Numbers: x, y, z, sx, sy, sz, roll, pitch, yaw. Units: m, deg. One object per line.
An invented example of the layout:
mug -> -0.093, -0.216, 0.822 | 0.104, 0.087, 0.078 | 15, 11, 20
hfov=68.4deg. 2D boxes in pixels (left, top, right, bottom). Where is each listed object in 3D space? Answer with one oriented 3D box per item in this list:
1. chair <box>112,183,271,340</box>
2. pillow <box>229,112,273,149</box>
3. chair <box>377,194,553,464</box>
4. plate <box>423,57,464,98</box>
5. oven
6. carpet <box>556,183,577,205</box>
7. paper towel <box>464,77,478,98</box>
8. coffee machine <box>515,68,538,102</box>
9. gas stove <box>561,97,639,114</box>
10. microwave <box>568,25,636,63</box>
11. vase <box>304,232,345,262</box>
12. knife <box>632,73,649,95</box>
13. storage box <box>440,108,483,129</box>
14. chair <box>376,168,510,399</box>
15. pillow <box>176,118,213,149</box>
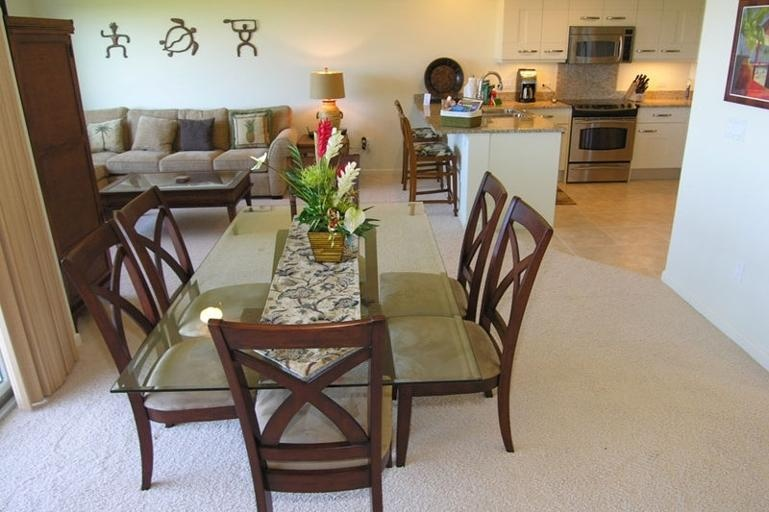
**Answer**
chair -> -1.375, 0.019, 3.947 | 1.016, 1.325, 0.752 | 5, 42, 0
pillow -> -1.717, -1.609, 7.241 | 0.598, 0.534, 0.207 | -7, 4, 0
chair -> 0.431, 0.477, 3.285 | 0.969, 1.483, 0.641 | -7, 22, -14
plate -> 0.793, -2.422, 7.599 | 0.526, 0.460, 0.144 | -1, 22, 3
oven -> 2.766, -1.480, 7.650 | 0.874, 1.106, 0.741 | -1, 27, 4
carpet -> 2.242, -0.735, 6.987 | 0.236, 0.063, 0.689 | 4, 20, 16
paper towel -> 0.975, -1.902, 6.415 | 0.141, 0.219, 0.294 | 2, 21, 9
coffee machine -> 1.896, -2.279, 7.568 | 0.279, 0.420, 0.332 | 4, 22, 14
gas stove -> 2.821, -1.962, 7.456 | 0.865, 0.155, 0.728 | 0, 20, 4
microwave -> 2.744, -2.674, 7.192 | 0.763, 0.464, 0.460 | -1, 23, -2
vase -> -0.354, -0.052, 3.411 | 0.196, 0.185, 0.192 | 6, 24, 12
knife -> 3.460, -2.310, 7.616 | 0.175, 0.247, 0.315 | 8, 22, 23
storage box -> 0.789, -1.401, 5.830 | 0.289, 0.118, 0.279 | 1, 25, -2
chair -> 0.395, 0.027, 3.765 | 1.059, 1.520, 0.843 | -1, 39, -1
pillow -> -2.398, -1.544, 7.170 | 0.413, 0.404, 0.147 | 4, 3, -9
